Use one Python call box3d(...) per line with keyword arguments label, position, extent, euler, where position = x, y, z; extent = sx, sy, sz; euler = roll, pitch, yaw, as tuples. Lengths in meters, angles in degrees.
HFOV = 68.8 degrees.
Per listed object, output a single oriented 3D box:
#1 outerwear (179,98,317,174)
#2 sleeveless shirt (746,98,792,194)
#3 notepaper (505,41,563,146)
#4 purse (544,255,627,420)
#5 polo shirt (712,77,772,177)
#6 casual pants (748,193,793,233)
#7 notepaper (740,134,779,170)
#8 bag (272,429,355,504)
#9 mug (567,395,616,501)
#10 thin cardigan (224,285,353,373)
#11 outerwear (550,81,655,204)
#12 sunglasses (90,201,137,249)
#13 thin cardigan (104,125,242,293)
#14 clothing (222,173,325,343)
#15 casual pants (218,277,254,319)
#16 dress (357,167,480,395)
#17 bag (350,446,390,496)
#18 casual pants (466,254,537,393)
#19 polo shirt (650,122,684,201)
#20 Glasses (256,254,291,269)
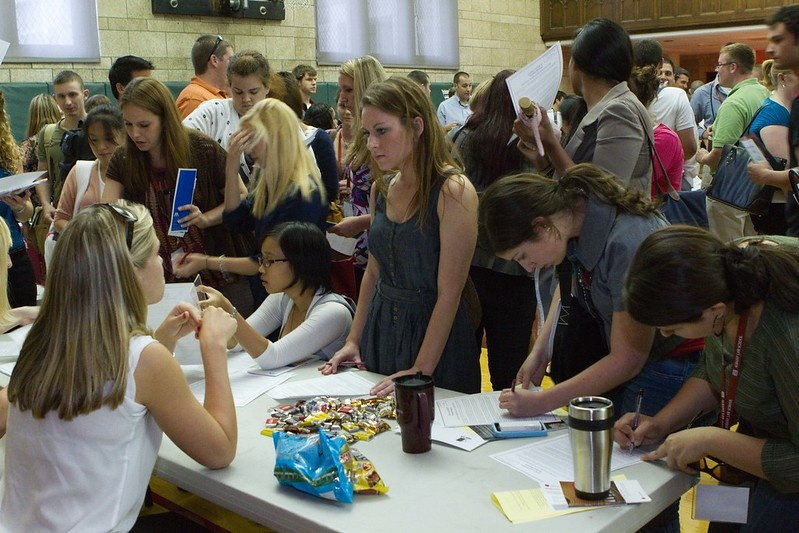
box3d(label="outerwear", position=(-0.887, -0.736, 3.337), extent=(0.646, 0.341, 0.173), euler=(-4, 14, -21))
box3d(label="sleeveless shirt", position=(2.084, -0.663, 3.133), extent=(0.270, 0.472, 0.224), euler=(-7, 14, -27))
box3d(label="notepaper", position=(0.613, -0.822, 2.622), extent=(0.151, 0.369, 0.370), euler=(11, 17, 41))
box3d(label="purse", position=(0.729, 0.211, 2.197), extent=(0.257, 0.543, 0.219), euler=(7, 3, 0))
box3d(label="polo shirt", position=(2.774, -1.166, 4.778), extent=(0.342, 0.638, 0.726), euler=(10, 22, 40))
box3d(label="casual pants", position=(2.422, -0.342, 3.703), extent=(0.100, 0.198, 0.118), euler=(7, 22, 23))
box3d(label="notepaper", position=(2.015, -0.631, 3.254), extent=(0.126, 0.263, 0.028), euler=(-26, -27, 1))
box3d(label="bag", position=(-0.253, 0.545, 1.672), extent=(0.294, 0.194, 0.104), euler=(6, 14, 24))
box3d(label="mug", position=(0.534, 0.501, 1.642), extent=(0.147, 0.281, 0.150), euler=(-3, 9, 6))
box3d(label="thin cardigan", position=(-0.461, 0.348, 2.727), extent=(0.379, 0.458, 0.494), euler=(9, -3, 18))
box3d(label="outerwear", position=(1.010, -0.620, 2.885), extent=(0.313, 0.554, 0.601), euler=(4, 12, 0))
box3d(label="sunglasses", position=(-0.832, -0.125, 1.744), extent=(0.127, 0.136, 0.040), euler=(-5, 7, -18))
box3d(label="thin cardigan", position=(-1.198, -0.326, 3.204), extent=(0.679, 0.938, 0.241), euler=(6, 10, 29))
box3d(label="clothing", position=(-0.609, -0.054, 2.867), extent=(0.334, 1.046, 0.297), euler=(-20, 44, -42))
box3d(label="casual pants", position=(-0.915, 0.181, 3.339), extent=(0.140, 0.201, 0.223), euler=(-4, 2, -3))
box3d(label="dress", position=(0.051, 0.094, 2.553), extent=(0.483, 0.852, 0.407), euler=(5, 8, 39))
box3d(label="bag", position=(-0.090, 0.584, 1.659), extent=(0.035, 0.114, 0.099), euler=(-31, -3, 33))
box3d(label="casual pants", position=(0.432, 0.293, 3.009), extent=(0.330, 0.750, 0.206), euler=(-6, 6, -36))
box3d(label="polo shirt", position=(1.671, -0.678, 3.688), extent=(0.221, 0.415, 0.314), euler=(-4, 16, 16))
box3d(label="Glasses", position=(-0.573, -0.017, 2.658), extent=(0.139, 0.047, 0.024), euler=(4, 13, 17))
